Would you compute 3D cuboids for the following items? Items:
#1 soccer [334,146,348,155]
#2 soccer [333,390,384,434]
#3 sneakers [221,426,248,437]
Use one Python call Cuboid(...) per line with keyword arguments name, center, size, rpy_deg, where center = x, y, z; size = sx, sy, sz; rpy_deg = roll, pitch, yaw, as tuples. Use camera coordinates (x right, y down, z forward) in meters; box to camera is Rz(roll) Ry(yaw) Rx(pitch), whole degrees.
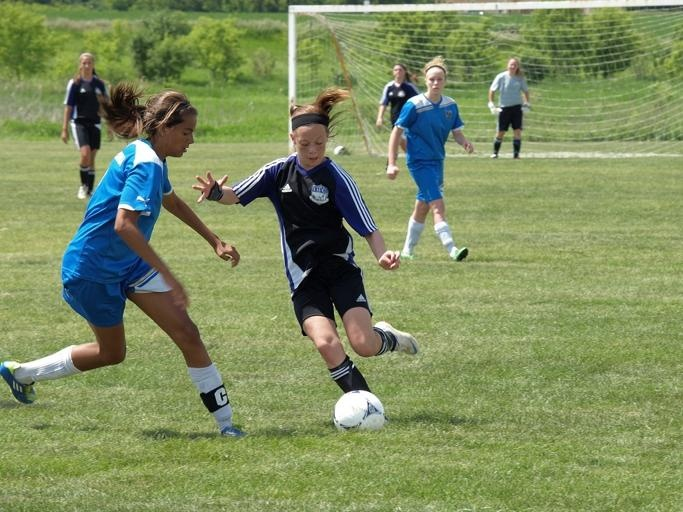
Cuboid(name="soccer", center=(-0.017, -2.495, 34.622), size=(0.275, 0.147, 0.242), rpy_deg=(-3, -28, 12))
Cuboid(name="soccer", center=(0.254, 2.021, 19.345), size=(0.678, 0.478, 0.238), rpy_deg=(0, 10, 1))
Cuboid(name="sneakers", center=(-1.416, 2.312, 19.336), size=(0.390, 0.145, 0.117), rpy_deg=(0, -2, 4))
